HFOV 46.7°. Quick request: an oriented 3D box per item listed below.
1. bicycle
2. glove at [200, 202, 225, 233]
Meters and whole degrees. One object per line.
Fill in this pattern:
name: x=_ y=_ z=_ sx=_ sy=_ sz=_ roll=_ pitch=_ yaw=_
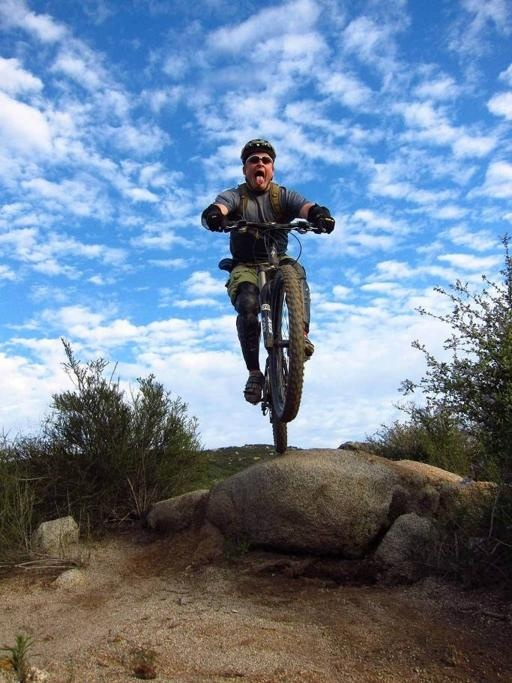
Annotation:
bicycle: x=0.258 y=-0.034 z=6.399 sx=1.059 sy=1.444 sz=2.462 roll=-1 pitch=-19 yaw=-5
glove: x=-0.440 y=-1.280 z=6.040 sx=0.251 sy=0.351 sz=0.319 roll=-1 pitch=-4 yaw=-22
